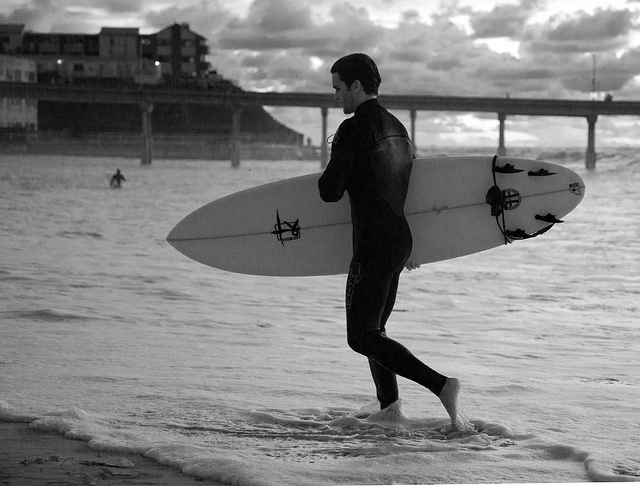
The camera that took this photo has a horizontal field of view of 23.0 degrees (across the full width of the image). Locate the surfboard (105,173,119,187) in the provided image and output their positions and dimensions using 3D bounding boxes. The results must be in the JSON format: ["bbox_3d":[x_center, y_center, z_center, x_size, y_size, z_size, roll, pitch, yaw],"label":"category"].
[{"bbox_3d":[-4.387,-1.333,33.020,0.235,0.096,0.421,-9,24,-8],"label":"surfboard"}]
